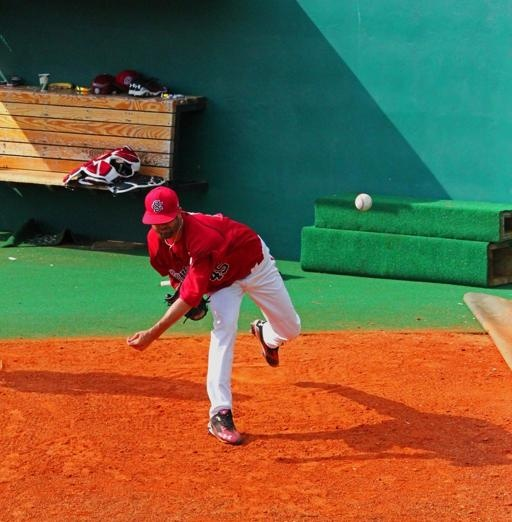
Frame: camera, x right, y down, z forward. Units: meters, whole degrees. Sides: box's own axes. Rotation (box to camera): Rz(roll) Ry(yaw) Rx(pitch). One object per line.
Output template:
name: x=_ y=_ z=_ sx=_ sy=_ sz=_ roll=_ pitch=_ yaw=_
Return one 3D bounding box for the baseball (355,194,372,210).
baseball: x=1.252 y=-0.686 z=7.745 sx=0.266 sy=0.200 sz=0.175 roll=1 pitch=61 yaw=6

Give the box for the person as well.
person: x=-0.214 y=0.268 z=4.009 sx=0.834 sy=1.487 sz=0.971 roll=5 pitch=23 yaw=11

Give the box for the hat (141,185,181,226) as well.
hat: x=-0.522 y=-0.321 z=3.592 sx=0.225 sy=0.126 sz=0.235 roll=2 pitch=37 yaw=8

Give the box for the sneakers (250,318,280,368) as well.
sneakers: x=0.051 y=0.591 z=4.794 sx=0.227 sy=0.360 sz=0.142 roll=-14 pitch=20 yaw=24

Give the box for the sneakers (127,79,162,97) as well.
sneakers: x=-1.461 y=-2.279 z=8.750 sx=0.446 sy=0.196 sz=0.194 roll=-1 pitch=20 yaw=-3

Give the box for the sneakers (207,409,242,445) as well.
sneakers: x=-0.206 y=0.965 z=3.837 sx=0.128 sy=0.102 sz=0.306 roll=-2 pitch=5 yaw=-33

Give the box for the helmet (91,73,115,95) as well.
helmet: x=-2.058 y=-2.409 z=9.008 sx=0.333 sy=0.270 sz=0.350 roll=10 pitch=35 yaw=15
